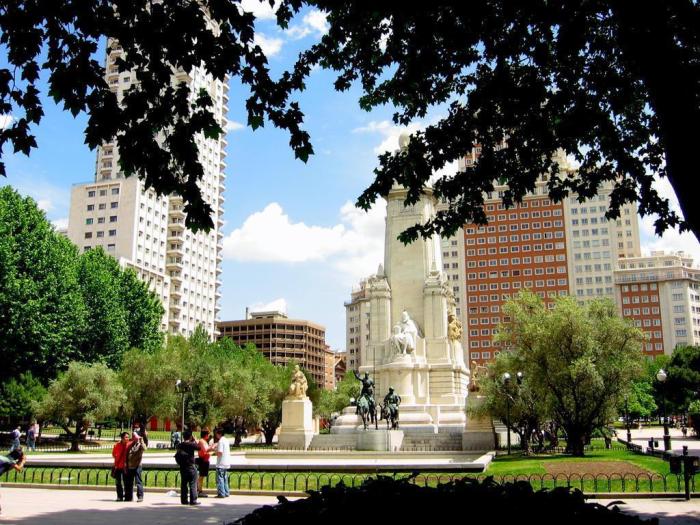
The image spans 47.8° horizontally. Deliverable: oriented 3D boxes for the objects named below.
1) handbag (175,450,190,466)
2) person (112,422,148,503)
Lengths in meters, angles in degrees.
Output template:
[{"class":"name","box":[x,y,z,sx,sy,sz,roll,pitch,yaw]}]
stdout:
[{"class":"handbag","box":[-4.791,5.607,22.641,0.400,0.460,0.237,0,-14,1]},{"class":"person","box":[-6.564,6.045,23.504,0.887,2.008,1.377,4,-14,-16]}]
